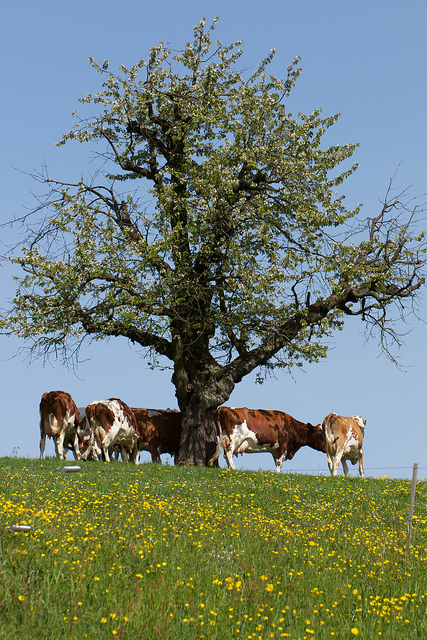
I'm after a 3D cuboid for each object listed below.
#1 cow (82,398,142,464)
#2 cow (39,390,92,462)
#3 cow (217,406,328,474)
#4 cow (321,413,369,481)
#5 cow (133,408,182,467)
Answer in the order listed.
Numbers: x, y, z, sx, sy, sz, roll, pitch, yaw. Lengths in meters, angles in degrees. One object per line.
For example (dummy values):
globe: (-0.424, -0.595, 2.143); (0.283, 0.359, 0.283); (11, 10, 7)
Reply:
cow: (-2.223, 2.888, 23.310); (0.668, 1.668, 2.639); (-8, -16, 32)
cow: (-3.852, 2.746, 24.511); (0.695, 1.723, 2.912); (1, -8, 8)
cow: (1.441, 3.048, 23.902); (0.694, 1.553, 3.774); (4, -3, 38)
cow: (3.446, 3.376, 24.301); (0.585, 1.947, 2.528); (-8, -16, 28)
cow: (-1.530, 3.215, 25.624); (2.505, 1.596, 0.752); (-1, -7, 39)
